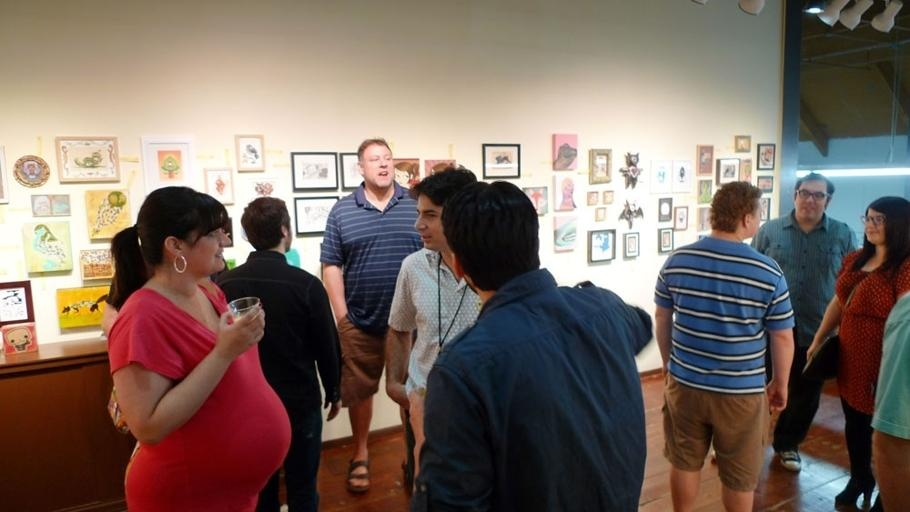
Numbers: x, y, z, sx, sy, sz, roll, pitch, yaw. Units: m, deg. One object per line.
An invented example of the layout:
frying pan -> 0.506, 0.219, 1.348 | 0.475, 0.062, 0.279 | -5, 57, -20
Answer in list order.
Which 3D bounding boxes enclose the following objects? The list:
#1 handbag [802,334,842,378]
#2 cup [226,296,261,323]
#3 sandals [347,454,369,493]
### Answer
handbag -> 2.874, 0.800, 4.853 | 0.305, 0.305, 0.114 | -25, 37, -39
cup -> -1.281, 0.323, 3.701 | 0.169, 0.108, 0.164 | -9, 4, 1
sandals -> -0.824, 1.886, 5.156 | 0.183, 0.229, 0.197 | -4, 7, -10
